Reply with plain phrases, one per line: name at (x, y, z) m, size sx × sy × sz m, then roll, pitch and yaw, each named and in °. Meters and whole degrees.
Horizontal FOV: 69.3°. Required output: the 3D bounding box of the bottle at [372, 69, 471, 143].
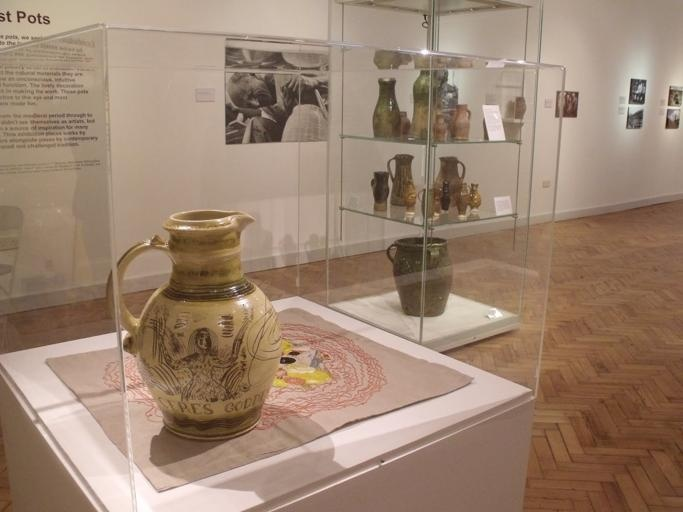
bottle at (0.302, -0.607, 2.028) m, size 0.396 × 0.277 × 0.308 m, roll 5°, pitch 17°, yaw 18°

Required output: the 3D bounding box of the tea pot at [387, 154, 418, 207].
tea pot at (0.267, -0.353, 2.226) m, size 0.167 × 0.258 × 0.130 m, roll 3°, pitch 21°, yaw 10°
